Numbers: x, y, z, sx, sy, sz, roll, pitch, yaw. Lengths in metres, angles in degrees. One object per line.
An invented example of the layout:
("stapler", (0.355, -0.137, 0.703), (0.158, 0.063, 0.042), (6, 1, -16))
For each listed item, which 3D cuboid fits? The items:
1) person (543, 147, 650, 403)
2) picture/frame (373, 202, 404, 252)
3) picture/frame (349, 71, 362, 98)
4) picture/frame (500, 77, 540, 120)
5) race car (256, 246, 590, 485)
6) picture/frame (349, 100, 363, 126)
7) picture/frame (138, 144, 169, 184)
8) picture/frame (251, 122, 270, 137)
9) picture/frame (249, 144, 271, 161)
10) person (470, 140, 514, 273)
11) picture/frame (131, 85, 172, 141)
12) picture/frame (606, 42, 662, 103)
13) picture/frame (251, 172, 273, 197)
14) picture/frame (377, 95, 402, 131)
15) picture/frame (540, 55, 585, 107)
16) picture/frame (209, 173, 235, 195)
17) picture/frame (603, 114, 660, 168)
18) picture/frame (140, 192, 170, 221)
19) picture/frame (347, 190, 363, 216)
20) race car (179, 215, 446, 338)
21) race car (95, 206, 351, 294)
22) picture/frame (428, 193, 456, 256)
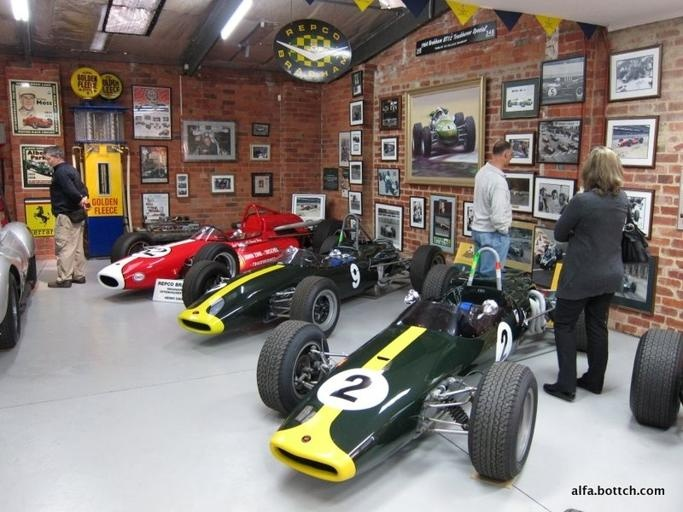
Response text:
("person", (1.981, 0.162, 3.762), (0.554, 1.914, 0.573), (3, 2, 4))
("picture/frame", (0.809, -0.492, 7.785), (0.040, 1.045, 0.849), (-3, 4, -37))
("picture/frame", (0.261, -3.162, 8.470), (0.061, 0.670, 0.546), (-2, 5, -19))
("picture/frame", (2.277, -1.989, 5.817), (0.069, 0.611, 0.613), (-2, 4, -35))
("race car", (0.678, 0.746, 3.331), (1.348, 0.780, 2.417), (10, 21, 39))
("picture/frame", (0.270, -2.673, 8.620), (0.021, 0.536, 0.529), (-4, 8, -23))
("picture/frame", (-3.708, -1.795, 8.940), (0.695, 1.010, 0.040), (-4, 6, -35))
("picture/frame", (-1.768, -2.679, 9.772), (0.323, 0.256, 0.033), (-2, 4, -28))
("picture/frame", (-1.786, -2.210, 9.814), (0.349, 0.276, 0.028), (-4, 15, -25))
("person", (1.666, -0.498, 5.124), (0.413, 1.548, 0.527), (6, 11, -1))
("picture/frame", (-3.657, -2.728, 8.858), (0.672, 1.004, 0.154), (-2, 12, -24))
("picture/frame", (3.026, -1.872, 4.751), (0.041, 0.499, 0.527), (-11, 18, -36))
("picture/frame", (-1.763, -1.552, 9.921), (0.435, 0.465, 0.033), (-13, 19, -29))
("picture/frame", (0.831, -2.437, 7.885), (0.100, 0.798, 0.710), (2, -1, -31))
("picture/frame", (2.559, -2.012, 5.317), (0.060, 0.505, 0.590), (-9, 17, -30))
("picture/frame", (-2.528, -1.497, 9.536), (0.434, 0.397, 0.036), (-3, 5, -33))
("picture/frame", (3.038, -1.188, 4.789), (0.203, 0.550, 0.594), (-4, 13, -33))
("picture/frame", (-3.701, -0.962, 9.006), (0.534, 0.664, 0.048), (-4, 1, -32))
("picture/frame", (0.256, -1.004, 8.730), (0.046, 0.744, 0.692), (-2, 4, -24))
("race car", (-0.215, 0.262, 5.259), (1.515, 0.977, 2.890), (1, 9, 44))
("race car", (-1.837, -0.174, 7.536), (2.202, 1.236, 4.181), (-1, 7, 34))
("picture/frame", (1.561, -0.491, 7.074), (0.089, 0.807, 0.496), (-2, 12, -33))
